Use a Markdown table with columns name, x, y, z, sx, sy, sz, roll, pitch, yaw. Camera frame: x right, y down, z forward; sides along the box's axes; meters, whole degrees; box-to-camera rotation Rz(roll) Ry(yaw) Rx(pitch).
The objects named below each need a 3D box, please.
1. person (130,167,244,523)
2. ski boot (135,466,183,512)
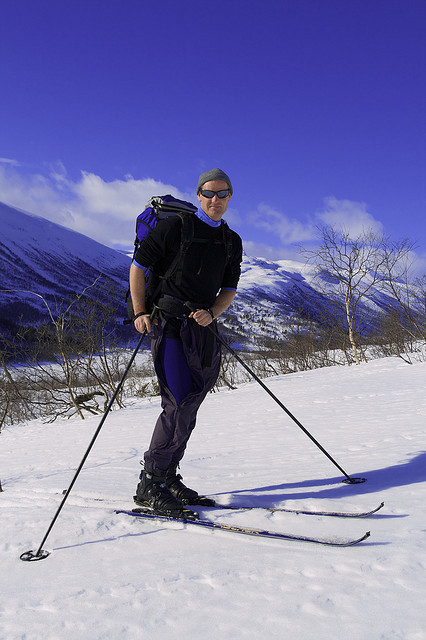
| name | x | y | z | sx | sy | sz | roll | pitch | yaw |
| --- | --- | --- | --- | --- | --- | --- | --- | --- | --- |
| person | -0.118 | 0.102 | 3.469 | 0.804 | 2.159 | 0.462 | -1 | -5 | -40 |
| ski boot | -0.323 | 1.046 | 3.276 | 0.347 | 0.245 | 0.149 | 4 | -1 | 34 |
